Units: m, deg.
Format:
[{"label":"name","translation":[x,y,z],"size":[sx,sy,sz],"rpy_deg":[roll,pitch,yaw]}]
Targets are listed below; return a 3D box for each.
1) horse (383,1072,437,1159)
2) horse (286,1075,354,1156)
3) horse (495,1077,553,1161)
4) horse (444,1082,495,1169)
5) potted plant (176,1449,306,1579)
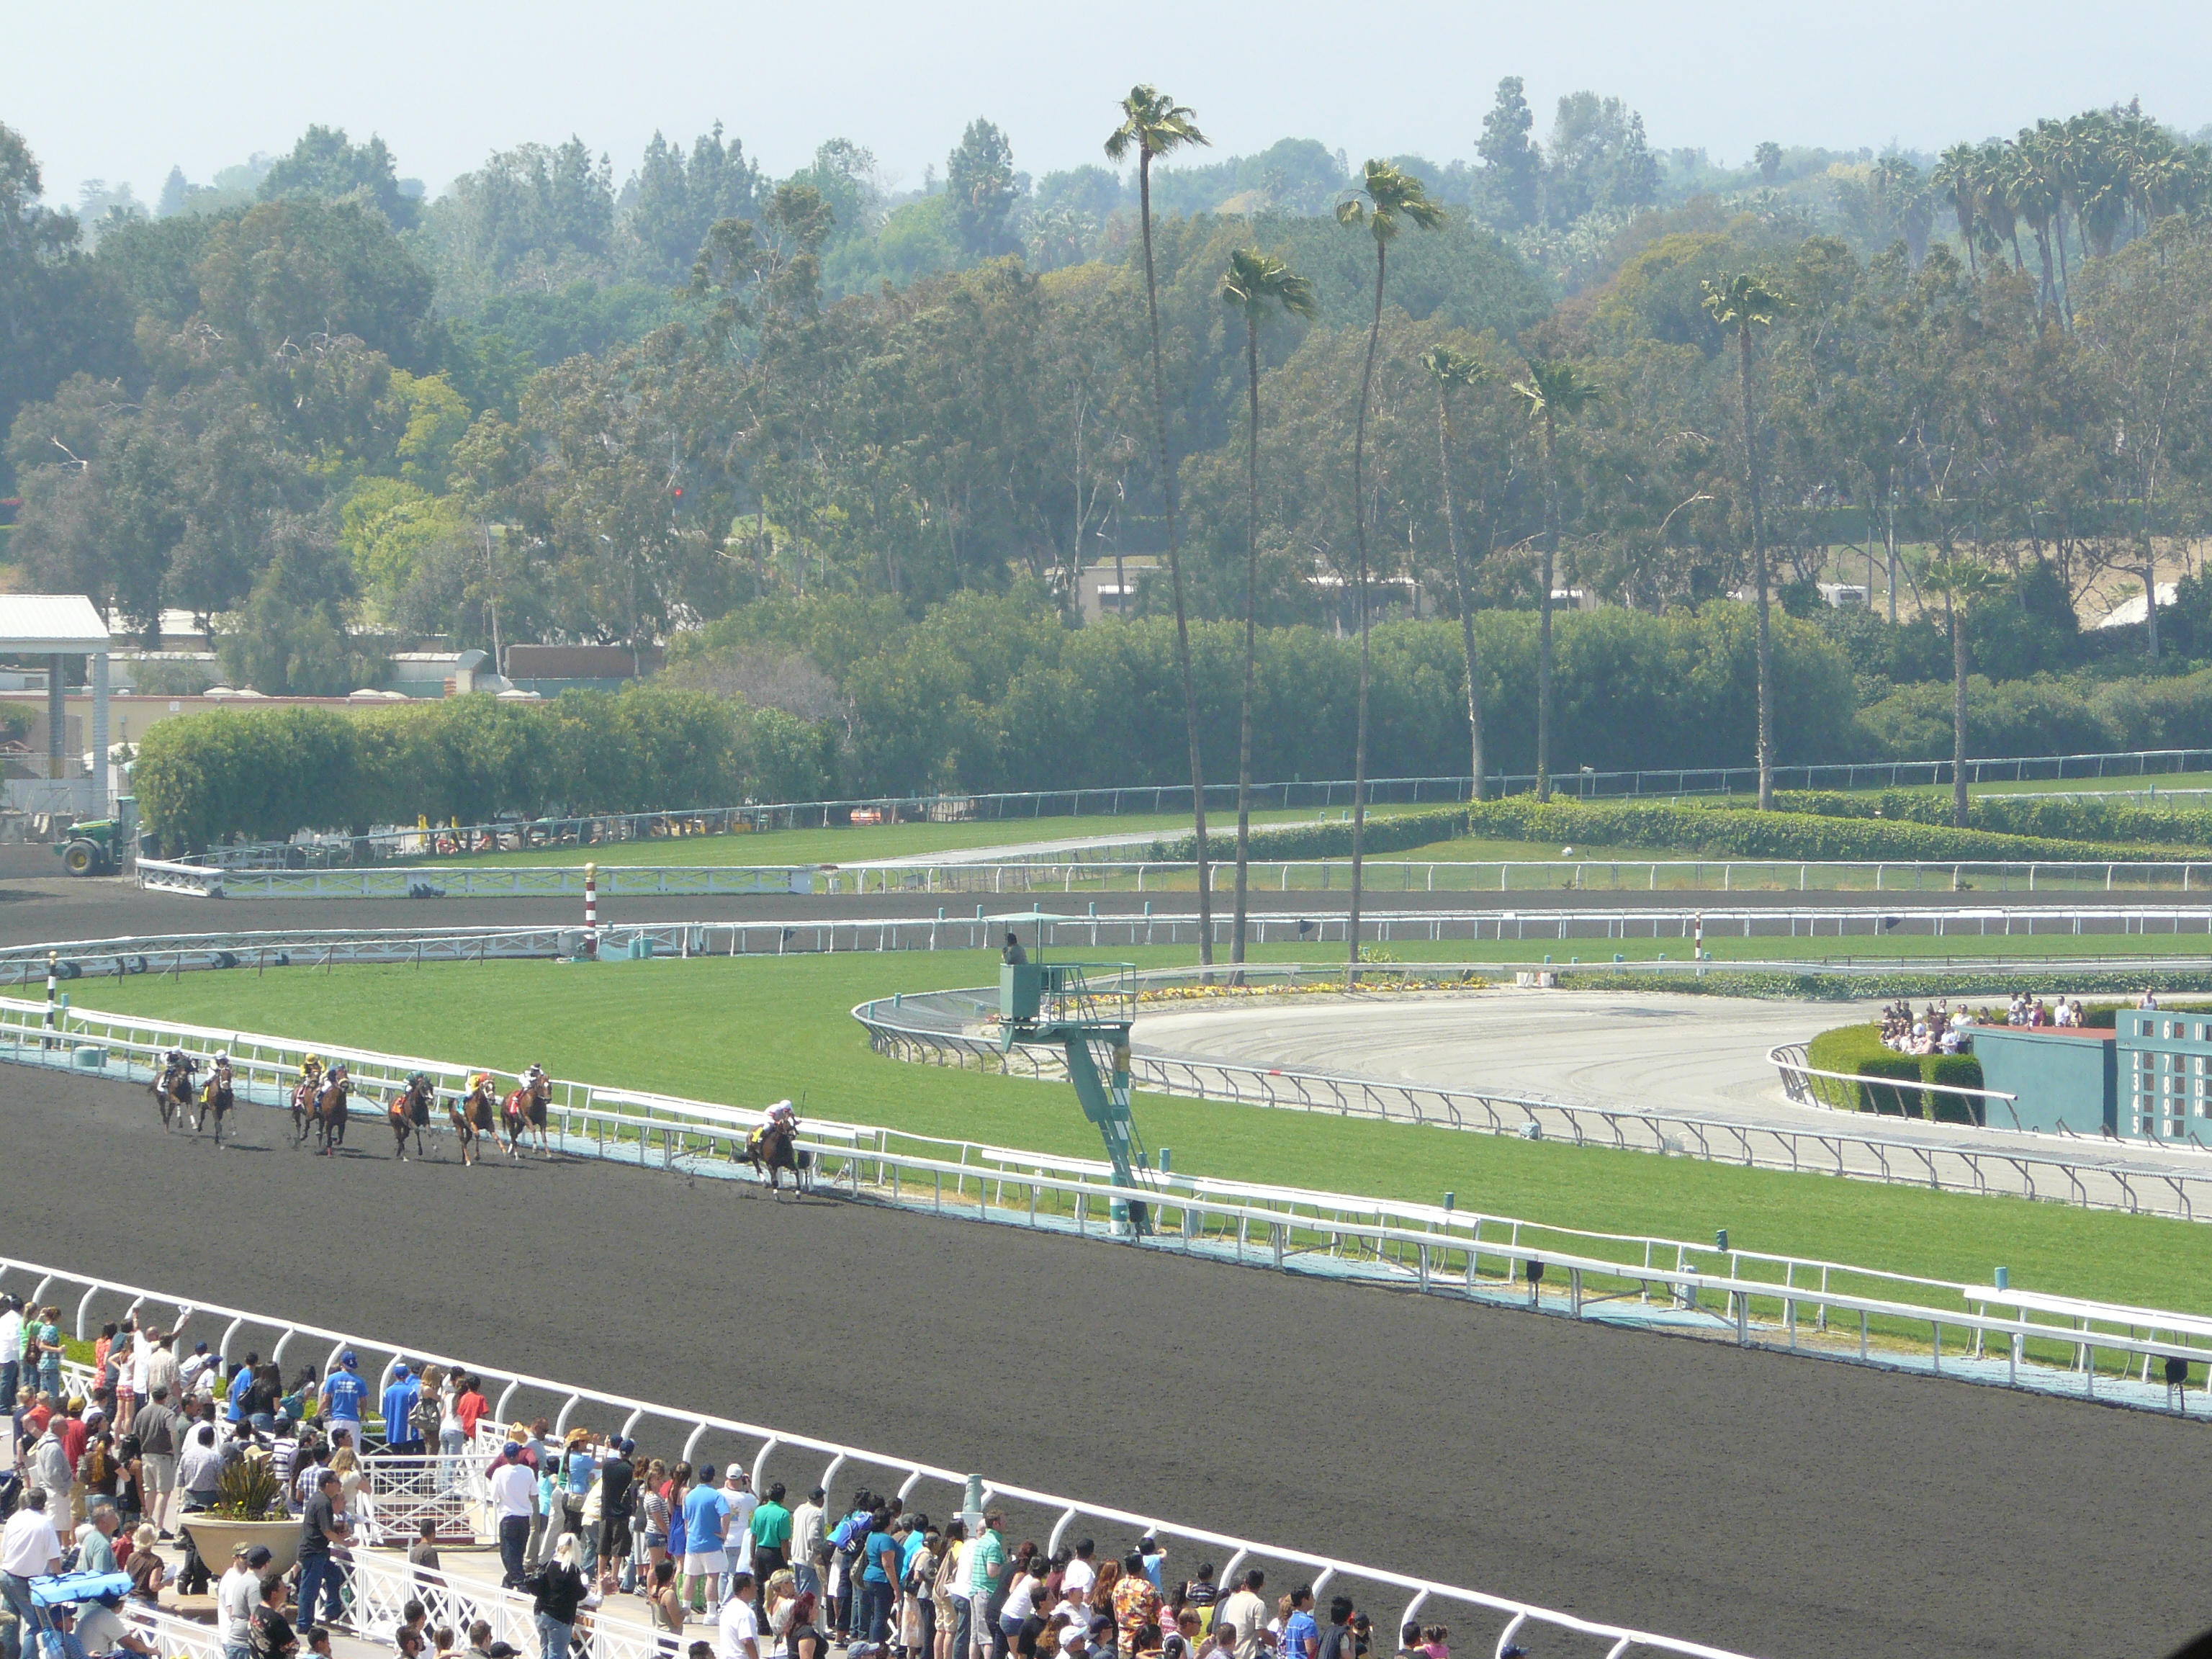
[{"label":"horse","translation":[-17.904,7.444,138.328],"size":[0.989,2.187,1.917],"rpy_deg":[-1,-1,-9]},{"label":"horse","translation":[-20.235,7.342,138.358],"size":[1.279,2.085,1.903],"rpy_deg":[-1,-1,-34]},{"label":"horse","translation":[-14.957,7.348,137.995],"size":[1.208,2.163,2.578],"rpy_deg":[-1,-1,-7]},{"label":"horse","translation":[-16.207,7.549,137.909],"size":[1.088,2.250,2.227],"rpy_deg":[-1,-1,-7]},{"label":"potted plant","translation":[-19.563,15.496,121.536],"size":[2.513,2.585,2.324],"rpy_deg":[2,-4,-12]}]
